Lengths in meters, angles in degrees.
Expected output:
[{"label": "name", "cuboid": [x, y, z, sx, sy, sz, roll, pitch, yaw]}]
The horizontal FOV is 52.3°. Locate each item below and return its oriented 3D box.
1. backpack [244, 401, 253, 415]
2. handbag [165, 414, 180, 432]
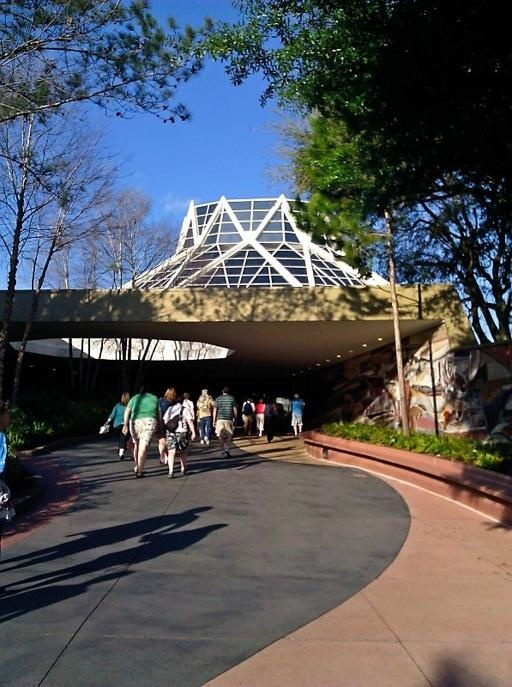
[{"label": "backpack", "cuboid": [-0.397, 2.984, 24.075, 0.511, 0.756, 0.404, 3, -16, -6]}, {"label": "handbag", "cuboid": [-1.566, 1.475, 9.650, 0.194, 0.293, 0.073, 18, 4, 35]}]
